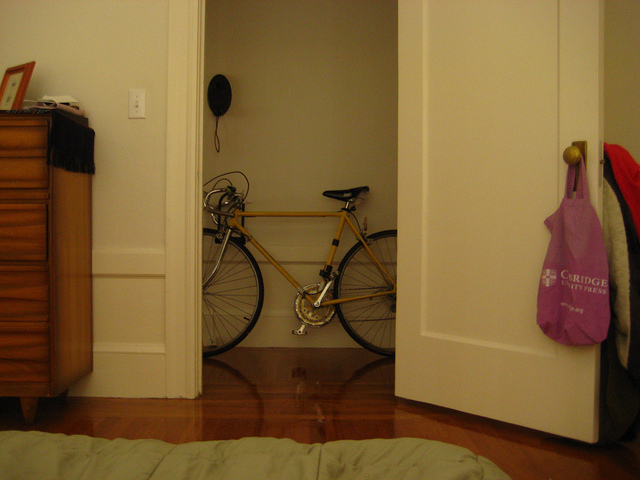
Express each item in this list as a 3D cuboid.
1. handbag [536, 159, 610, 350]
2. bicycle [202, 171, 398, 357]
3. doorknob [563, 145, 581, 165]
[{"bbox_3d":[1.136,0.059,2.625,0.298,0.808,0.136,5,8,30],"label":"handbag"},{"bbox_3d":[-0.133,0.145,3.866,1.281,1.156,0.560,0,7,-7],"label":"bicycle"},{"bbox_3d":[1.114,-0.378,2.610,0.065,0.089,0.066,1,8,39],"label":"doorknob"}]
